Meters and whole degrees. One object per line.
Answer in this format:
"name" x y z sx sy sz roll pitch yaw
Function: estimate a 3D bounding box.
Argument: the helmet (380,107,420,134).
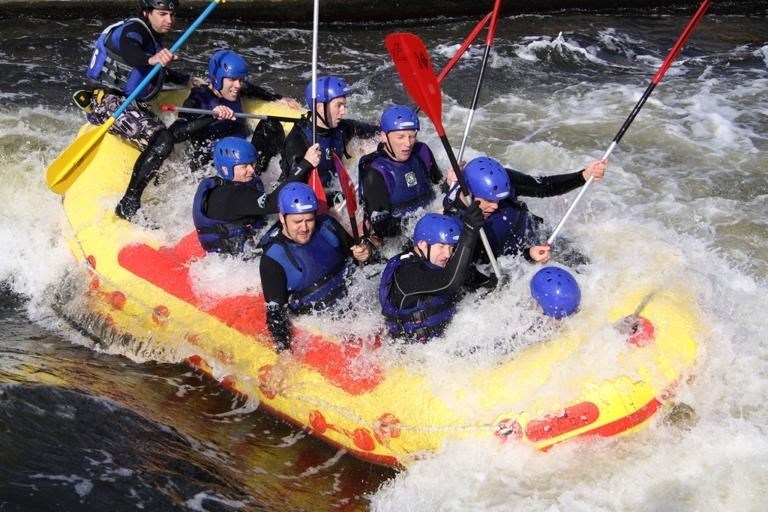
"helmet" 0.143 -1.352 7.140 0.283 0.339 0.250 -6 79 -13

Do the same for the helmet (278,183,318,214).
"helmet" -0.786 -0.568 6.389 0.377 0.165 0.463 -9 28 -14

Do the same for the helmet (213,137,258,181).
"helmet" -1.524 -0.973 7.005 0.501 0.364 0.336 12 31 15

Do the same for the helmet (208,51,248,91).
"helmet" -1.745 -2.068 7.843 0.466 0.348 0.357 28 32 34

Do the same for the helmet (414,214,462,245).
"helmet" 0.498 -0.249 6.068 0.357 0.199 0.258 21 25 34

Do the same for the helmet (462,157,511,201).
"helmet" 0.967 -0.726 6.497 0.360 0.253 0.434 -14 54 -36

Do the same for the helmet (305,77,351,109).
"helmet" -0.593 -1.761 7.526 0.497 0.333 0.351 10 31 20

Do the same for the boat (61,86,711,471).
"boat" -0.525 0.725 6.482 4.446 0.885 2.552 25 48 21

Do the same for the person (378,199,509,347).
"person" 0.569 0.185 6.279 0.885 1.286 0.621 -5 55 -3
